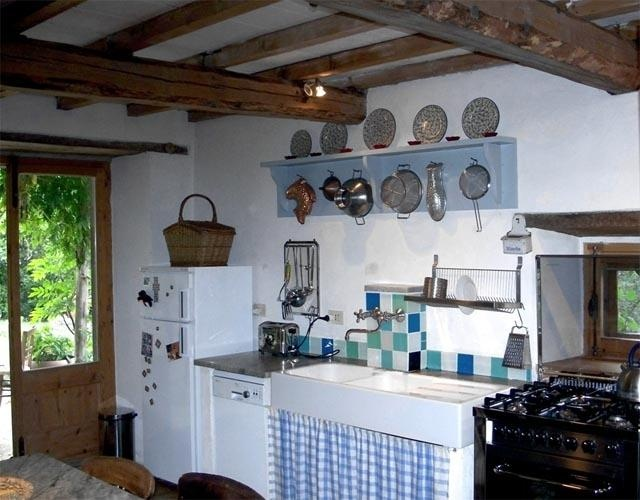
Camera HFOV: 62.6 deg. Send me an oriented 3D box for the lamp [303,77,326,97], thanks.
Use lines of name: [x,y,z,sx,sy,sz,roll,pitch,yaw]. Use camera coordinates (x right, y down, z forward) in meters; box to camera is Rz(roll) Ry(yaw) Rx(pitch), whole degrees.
lamp: [-0.033,-1.096,3.567,0.162,0.118,0.186,0,0,1]

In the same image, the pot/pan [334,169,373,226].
pot/pan: [0.276,-0.396,3.842,0.251,0.388,0.301,0,0,22]

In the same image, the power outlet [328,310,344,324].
power outlet: [0.126,0.522,4.105,0.024,0.108,0.147,0,0,-45]

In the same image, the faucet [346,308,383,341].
faucet: [0.323,0.512,3.778,0.246,0.219,0.337,0,0,6]

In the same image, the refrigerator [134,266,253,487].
refrigerator: [-1.128,1.019,4.390,0.976,1.577,0.532,0,0,18]

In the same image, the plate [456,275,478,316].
plate: [0.938,0.289,3.347,0.131,0.259,0.203,0,0,19]

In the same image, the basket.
basket: [-1.065,-0.158,4.590,0.455,0.723,0.588,1,-13,-22]

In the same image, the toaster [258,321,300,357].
toaster: [-0.340,0.705,4.219,0.335,0.272,0.192,-2,-1,37]

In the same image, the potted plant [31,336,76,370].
potted plant: [-2.477,0.939,4.875,0.272,0.254,0.272,2,-1,-24]
